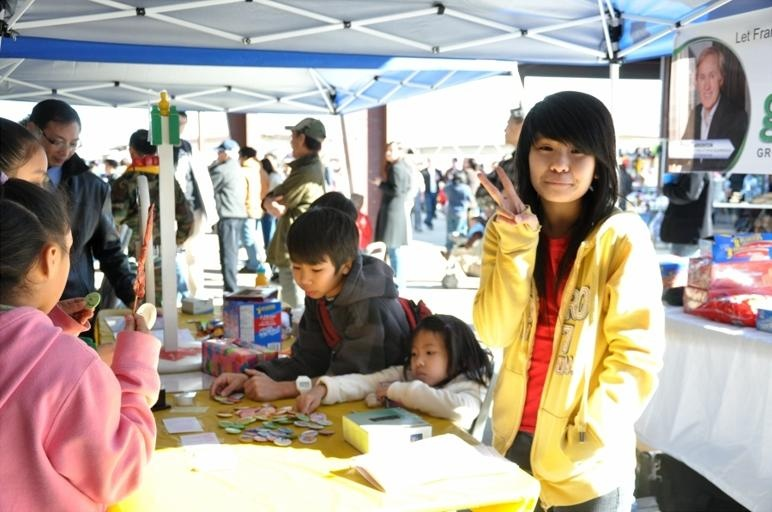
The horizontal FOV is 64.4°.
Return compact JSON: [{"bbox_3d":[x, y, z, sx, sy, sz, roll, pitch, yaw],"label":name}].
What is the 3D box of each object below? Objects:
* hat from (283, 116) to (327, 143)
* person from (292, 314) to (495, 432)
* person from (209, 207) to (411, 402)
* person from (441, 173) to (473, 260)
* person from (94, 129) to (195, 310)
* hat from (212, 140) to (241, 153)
[{"bbox_3d":[-0.782,-1.257,6.036,0.322,0.173,0.206,14,19,3],"label":"hat"},{"bbox_3d":[0.088,0.497,2.585,0.901,0.362,0.676,-4,2,-41],"label":"person"},{"bbox_3d":[-0.289,0.250,2.845,0.553,0.848,1.028,6,5,36],"label":"person"},{"bbox_3d":[1.243,-0.785,10.482,0.467,1.230,1.471,0,13,8],"label":"person"},{"bbox_3d":[-2.093,-0.231,5.472,0.635,1.709,0.422,-3,26,-29],"label":"person"},{"bbox_3d":[-2.126,-1.473,8.155,0.305,0.172,0.220,2,-3,-2],"label":"hat"}]
